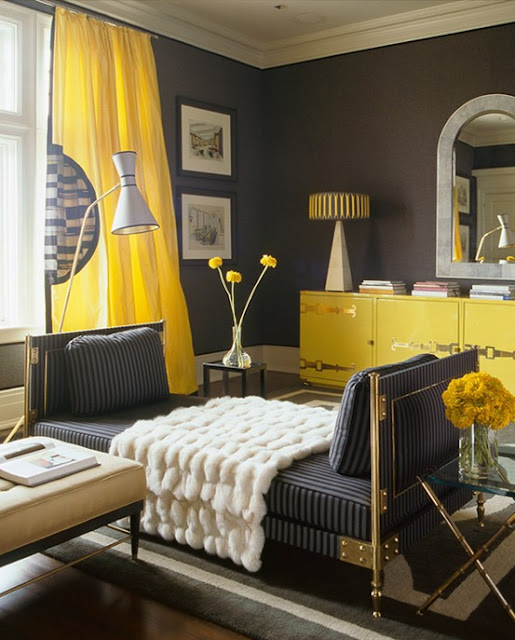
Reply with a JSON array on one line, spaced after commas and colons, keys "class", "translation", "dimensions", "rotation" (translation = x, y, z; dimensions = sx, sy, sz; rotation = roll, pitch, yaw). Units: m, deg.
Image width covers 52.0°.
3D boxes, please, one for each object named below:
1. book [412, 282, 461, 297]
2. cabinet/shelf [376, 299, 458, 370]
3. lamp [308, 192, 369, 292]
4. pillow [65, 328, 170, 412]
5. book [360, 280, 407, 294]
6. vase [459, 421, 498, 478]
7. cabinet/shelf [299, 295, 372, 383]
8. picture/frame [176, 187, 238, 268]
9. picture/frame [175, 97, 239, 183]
[{"class": "book", "translation": [1.524, -0.266, 4.521], "dimensions": [0.378, 0.166, 0.442], "rotation": [-2, -2, 21]}, {"class": "cabinet/shelf", "translation": [1.333, 0.044, 4.501], "dimensions": [0.803, 0.801, 0.462], "rotation": [2, 4, 36]}, {"class": "lamp", "translation": [0.788, -0.762, 5.049], "dimensions": [0.537, 0.996, 0.536], "rotation": [-1, -2, 17]}, {"class": "pillow", "translation": [-0.717, 0.264, 2.661], "dimensions": [0.075, 0.247, 0.387], "rotation": [-12, -6, 36]}, {"class": "book", "translation": [1.166, -0.292, 4.764], "dimensions": [0.462, 0.136, 0.314], "rotation": [-1, -2, -2]}, {"class": "vase", "translation": [0.643, 0.376, 1.531], "dimensions": [0.096, 0.173, 0.101], "rotation": [-7, -17, 34]}, {"class": "cabinet/shelf", "translation": [0.710, 0.147, 4.685], "dimensions": [0.744, 0.936, 0.348], "rotation": [2, 2, 38]}, {"class": "picture/frame", "translation": [-0.516, -0.908, 5.099], "dimensions": [0.031, 0.858, 0.985], "rotation": [1, 1, 34]}, {"class": "picture/frame", "translation": [-0.514, -1.743, 5.077], "dimensions": [0.039, 0.805, 0.934], "rotation": [4, 5, 36]}]
